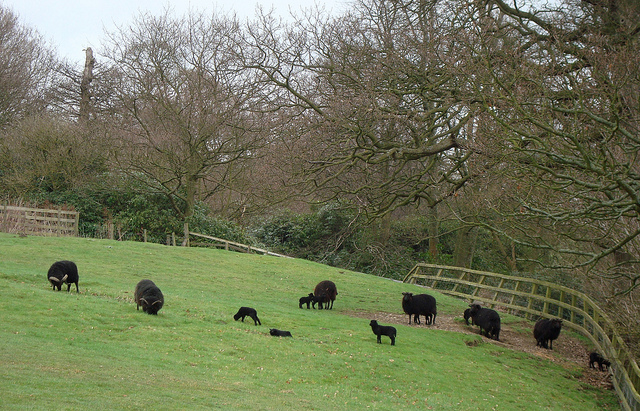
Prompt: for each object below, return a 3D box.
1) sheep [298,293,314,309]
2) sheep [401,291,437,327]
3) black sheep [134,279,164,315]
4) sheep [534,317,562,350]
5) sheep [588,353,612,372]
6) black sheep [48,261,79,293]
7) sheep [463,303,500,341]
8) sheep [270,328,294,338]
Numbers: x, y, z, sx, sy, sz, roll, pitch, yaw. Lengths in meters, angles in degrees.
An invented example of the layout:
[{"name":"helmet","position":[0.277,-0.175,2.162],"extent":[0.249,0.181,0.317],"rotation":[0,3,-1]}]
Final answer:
[{"name":"sheep","position":[-0.617,4.470,31.816],"extent":[0.819,0.718,0.379],"rotation":[0,1,-22]},{"name":"sheep","position":[4.683,4.817,31.726],"extent":[0.695,1.540,2.639],"rotation":[-2,-7,45]},{"name":"black sheep","position":[-6.691,3.558,26.472],"extent":[0.686,0.938,1.672],"rotation":[-2,4,-26]},{"name":"sheep","position":[10.436,5.705,30.665],"extent":[0.722,1.518,1.905],"rotation":[3,-4,-16]},{"name":"sheep","position":[11.829,6.554,28.386],"extent":[0.415,0.585,0.985],"rotation":[2,5,-38]},{"name":"black sheep","position":[-10.519,2.901,27.293],"extent":[0.760,1.254,1.689],"rotation":[-3,-3,22]},{"name":"sheep","position":[7.750,5.409,31.632],"extent":[0.800,1.335,2.462],"rotation":[11,3,-15]},{"name":"sheep","position":[-1.524,4.968,26.751],"extent":[0.847,0.404,0.325],"rotation":[4,4,4]}]
